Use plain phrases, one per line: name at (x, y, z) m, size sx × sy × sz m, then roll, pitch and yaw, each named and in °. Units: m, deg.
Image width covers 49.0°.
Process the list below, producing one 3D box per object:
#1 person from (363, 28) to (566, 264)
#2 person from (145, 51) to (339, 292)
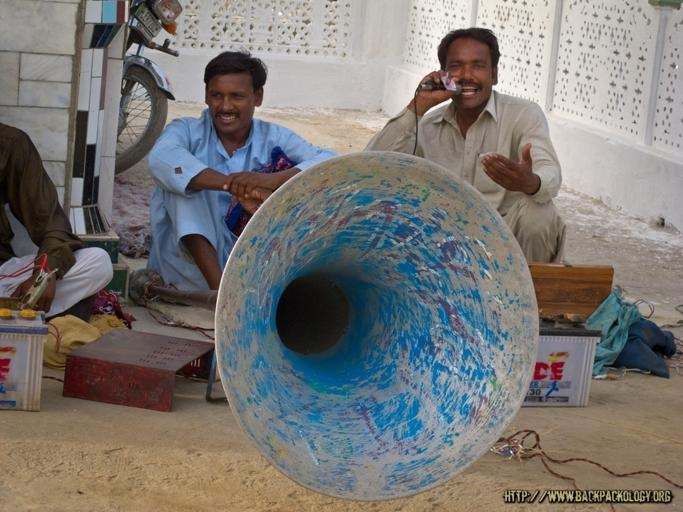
person at (0.734, -0.631, 4.139) m, size 1.004 × 1.285 × 0.929 m, roll 8°, pitch 7°, yaw 23°
person at (-0.645, -0.464, 4.229) m, size 0.958 × 1.412 × 0.879 m, roll 4°, pitch 7°, yaw -6°
